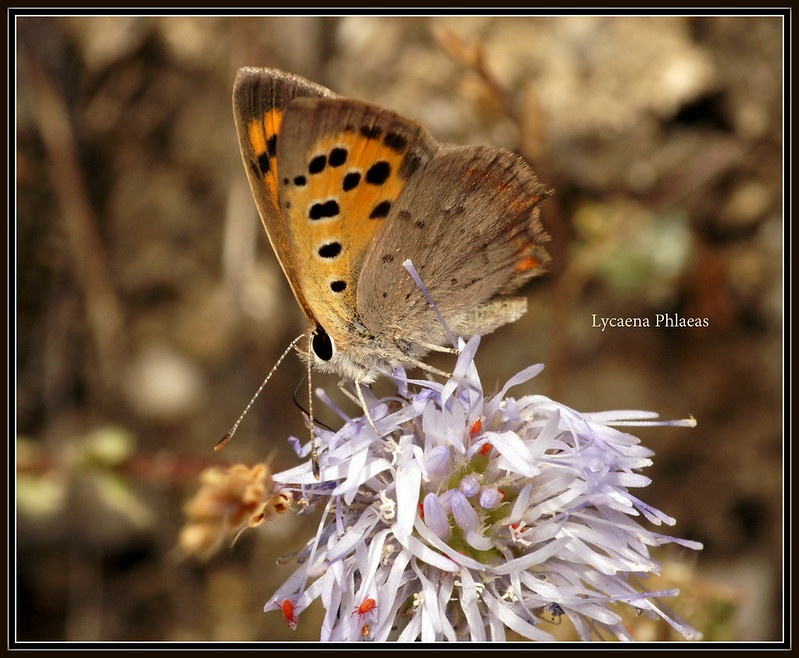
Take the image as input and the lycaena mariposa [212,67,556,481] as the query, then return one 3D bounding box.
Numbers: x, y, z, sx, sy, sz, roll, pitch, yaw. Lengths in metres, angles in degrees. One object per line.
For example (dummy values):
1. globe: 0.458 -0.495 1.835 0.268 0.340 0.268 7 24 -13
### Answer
1. lycaena mariposa: -0.109 -0.454 5.099 1.832 1.696 2.172 -24 -5 -10
